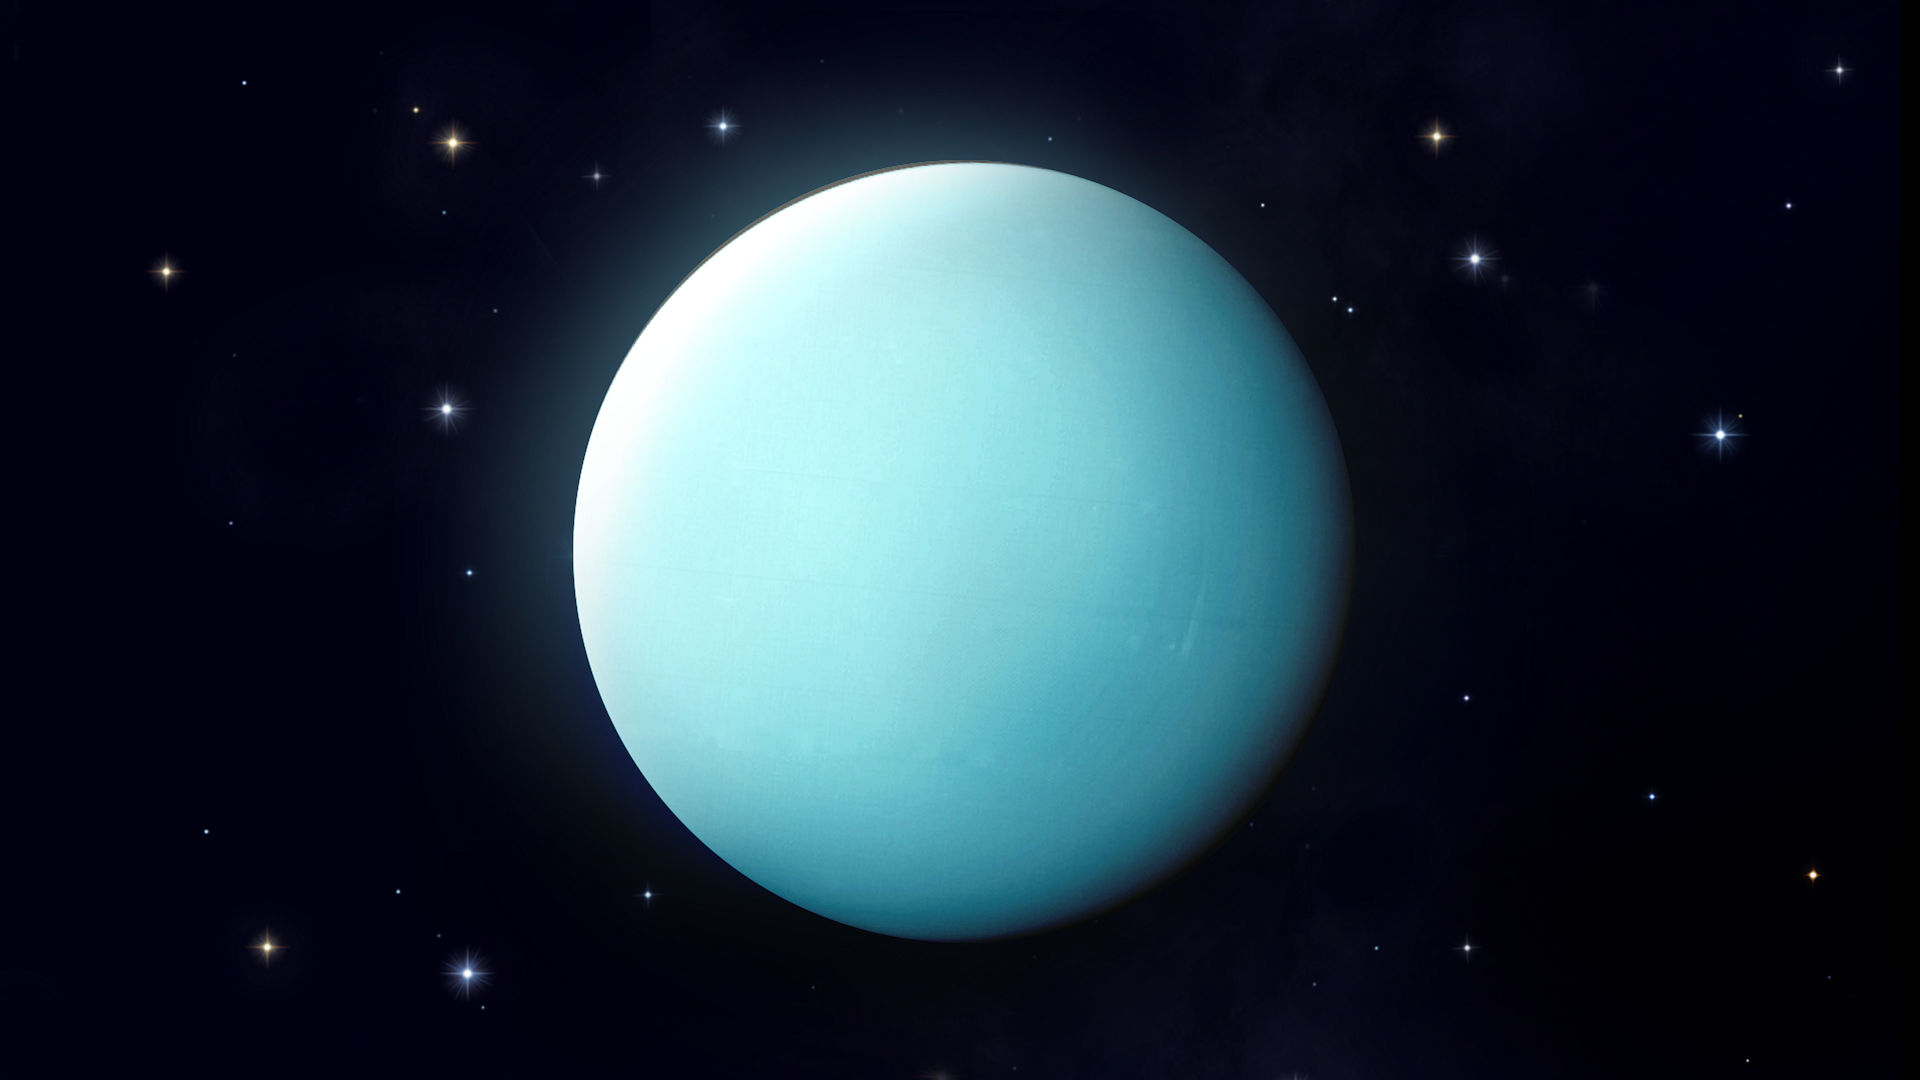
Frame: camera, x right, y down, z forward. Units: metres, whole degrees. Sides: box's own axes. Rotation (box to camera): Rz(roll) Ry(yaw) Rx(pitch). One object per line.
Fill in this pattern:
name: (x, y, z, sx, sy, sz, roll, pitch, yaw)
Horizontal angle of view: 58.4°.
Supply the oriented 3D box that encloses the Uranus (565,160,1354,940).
Uranus: (0.006, 0.015, 2.498, 1.098, 0.745, 0.765, -9, -47, 7)
